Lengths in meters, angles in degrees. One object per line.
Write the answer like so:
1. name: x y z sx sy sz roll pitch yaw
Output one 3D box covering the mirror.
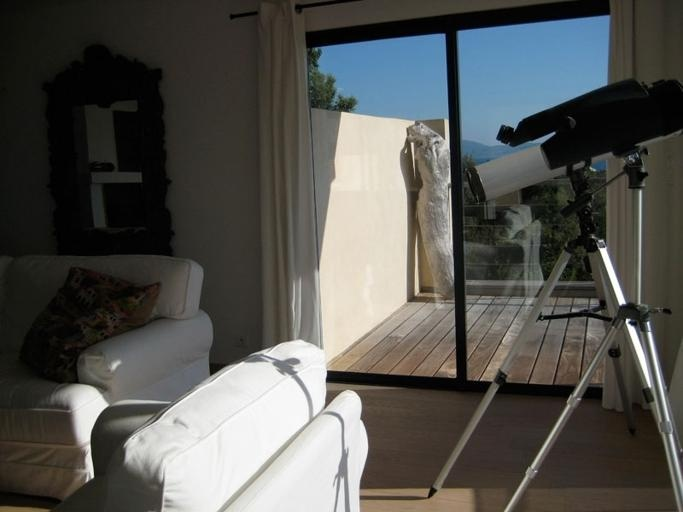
1. mirror: -1.905 -0.842 4.405 1.112 1.638 0.244 1 13 13
